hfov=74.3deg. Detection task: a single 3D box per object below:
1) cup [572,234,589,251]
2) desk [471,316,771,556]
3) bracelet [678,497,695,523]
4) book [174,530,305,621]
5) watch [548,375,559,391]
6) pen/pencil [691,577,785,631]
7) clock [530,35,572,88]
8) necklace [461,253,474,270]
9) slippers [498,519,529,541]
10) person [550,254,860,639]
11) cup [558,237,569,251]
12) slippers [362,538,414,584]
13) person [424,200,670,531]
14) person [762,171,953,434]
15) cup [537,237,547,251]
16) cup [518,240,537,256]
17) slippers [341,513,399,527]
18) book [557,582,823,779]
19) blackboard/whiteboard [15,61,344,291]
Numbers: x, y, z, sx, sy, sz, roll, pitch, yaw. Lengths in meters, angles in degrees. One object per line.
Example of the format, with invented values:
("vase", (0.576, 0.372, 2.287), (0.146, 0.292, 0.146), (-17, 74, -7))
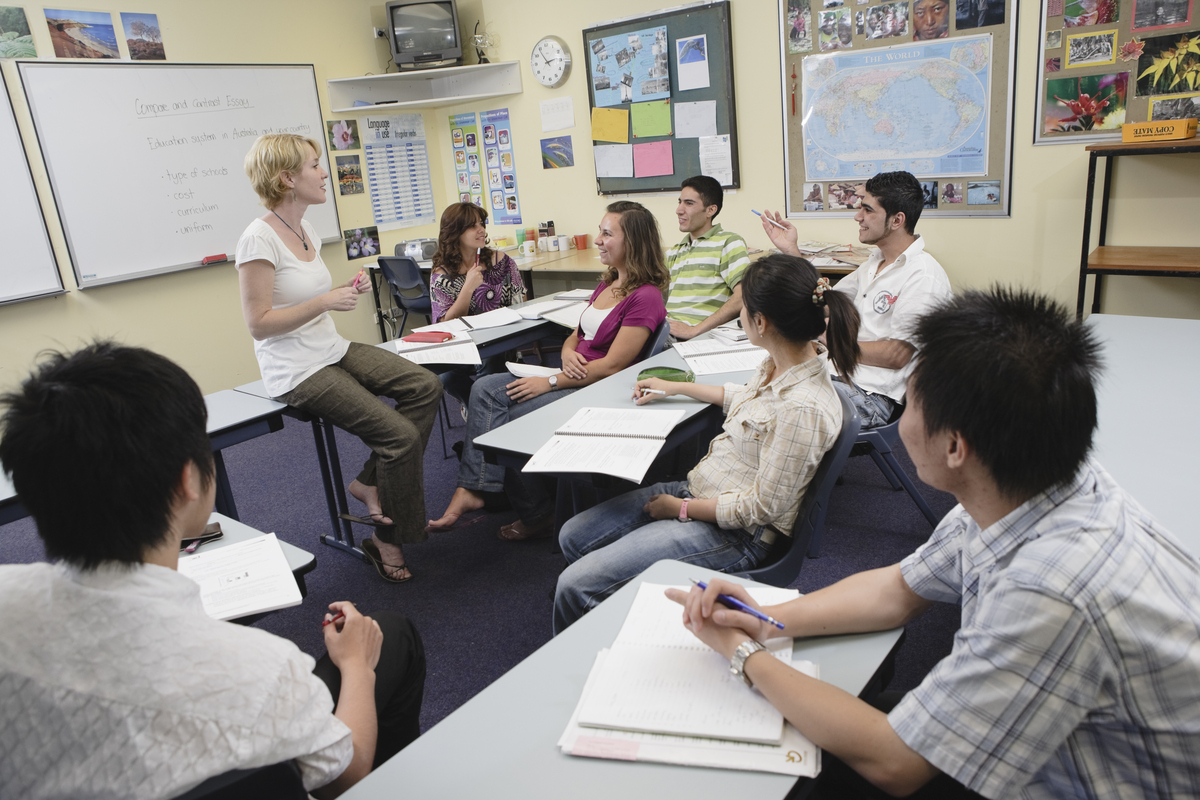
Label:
("cup", (-0.149, -1.187, 5.895), (0.112, 0.115, 0.105), (1, 9, 0))
("desk", (0.072, 0.147, 2.866), (0.444, 0.437, 0.895), (18, 34, 35))
("bracelet", (0.252, 0.329, 2.332), (0.040, 0.059, 0.060), (1, -5, 15))
("book", (-0.872, 0.444, 1.966), (0.266, 0.060, 0.262), (-14, 32, -25))
("watch", (-0.209, -0.084, 3.559), (0.038, 0.064, 0.064), (8, 15, 4))
("pen/pencil", (0.281, 0.428, 1.647), (0.194, 0.022, 0.026), (31, 13, 32))
("clock", (-0.341, -2.434, 5.635), (0.366, 0.362, 0.062), (8, 20, 37))
("necklace", (-0.735, -0.786, 4.422), (0.056, 0.066, 0.076), (-2, -7, 2))
("slippers", (-0.385, 0.578, 3.512), (0.130, 0.048, 0.072), (-6, 49, -13))
("person", (0.296, 0.308, 2.514), (0.885, 1.482, 0.617), (5, 15, 5))
("cup", (-0.280, -1.176, 5.930), (0.052, 0.093, 0.097), (2, 8, 26))
("slippers", (-0.905, 0.677, 3.342), (0.130, 0.060, 0.249), (-33, 76, -30))
("person", (-0.226, -0.140, 3.640), (1.004, 1.429, 0.613), (-2, 17, -16))
("person", (1.113, -0.287, 3.677), (0.851, 1.414, 0.630), (4, 15, 12))
("cup", (-0.427, -1.188, 5.997), (0.094, 0.101, 0.096), (-1, 15, 0))
("cup", (-0.530, -1.138, 5.937), (0.075, 0.137, 0.140), (4, -5, 14))
("slippers", (-0.988, 0.503, 3.342), (0.295, 0.042, 0.101), (2, 3, 30))
("book", (0.148, 0.565, 1.530), (0.285, 0.031, 0.289), (6, 28, 15))
("blackboard/whiteboard", (-2.503, -1.279, 4.505), (0.174, 1.161, 1.660), (9, 21, 38))
